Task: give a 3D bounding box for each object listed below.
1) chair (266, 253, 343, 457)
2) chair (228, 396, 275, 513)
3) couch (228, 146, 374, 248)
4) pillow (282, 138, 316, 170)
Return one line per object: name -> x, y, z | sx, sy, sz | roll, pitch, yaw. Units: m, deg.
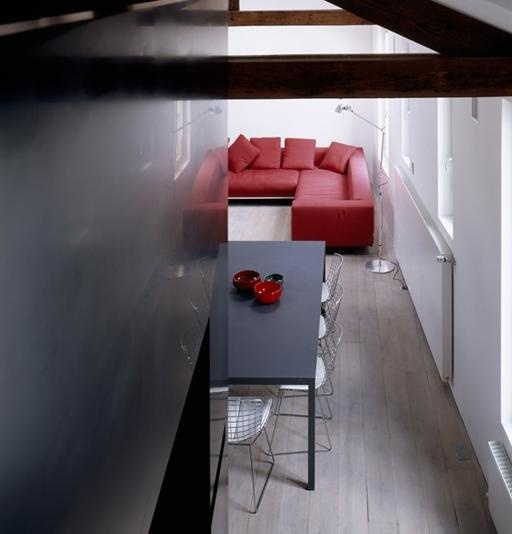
chair -> 0.362, 0.740, 3.454 | 0.518, 1.677, 0.748 | 2, 22, 6
chair -> -0.020, 1.303, 3.065 | 0.358, 0.731, 0.457 | -4, -17, 7
couch -> 0.870, -1.076, 7.165 | 1.600, 0.660, 2.315 | 3, 33, 5
pillow -> 0.848, -2.245, 8.831 | 0.502, 0.730, 0.213 | 4, -18, 8
